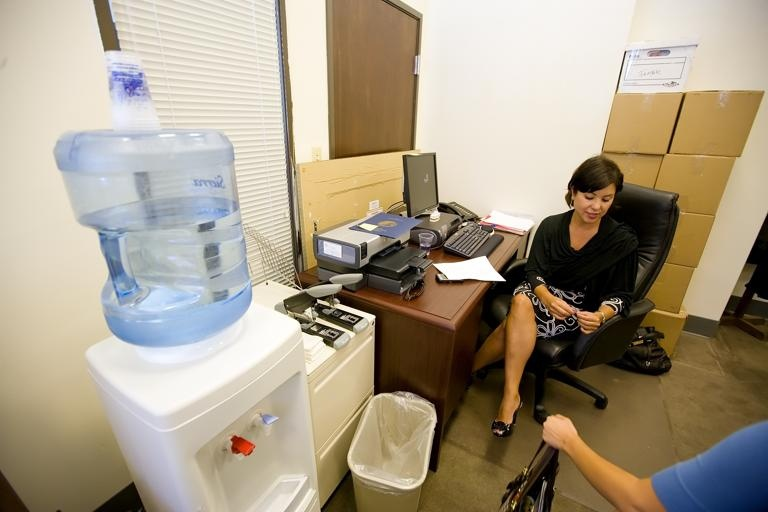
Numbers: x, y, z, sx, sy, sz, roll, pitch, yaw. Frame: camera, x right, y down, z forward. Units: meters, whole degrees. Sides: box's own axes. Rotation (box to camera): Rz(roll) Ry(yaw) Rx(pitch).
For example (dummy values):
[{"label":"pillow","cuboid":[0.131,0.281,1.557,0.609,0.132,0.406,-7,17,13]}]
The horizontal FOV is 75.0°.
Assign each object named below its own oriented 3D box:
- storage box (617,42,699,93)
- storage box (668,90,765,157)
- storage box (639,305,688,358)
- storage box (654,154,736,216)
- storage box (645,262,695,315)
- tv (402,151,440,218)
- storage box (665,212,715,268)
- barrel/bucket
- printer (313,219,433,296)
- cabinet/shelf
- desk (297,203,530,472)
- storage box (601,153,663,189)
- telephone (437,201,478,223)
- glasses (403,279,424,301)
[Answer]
[{"label":"storage box","cuboid":[1.792,-1.231,3.303,0.340,0.216,0.347,15,43,33]},{"label":"storage box","cuboid":[2.127,-0.855,3.241,0.488,0.471,0.125,11,19,17]},{"label":"storage box","cuboid":[1.948,0.530,3.529,0.310,0.322,0.232,14,24,37]},{"label":"storage box","cuboid":[2.082,-0.495,3.346,0.460,0.436,0.113,15,16,20]},{"label":"storage box","cuboid":[1.938,0.213,3.431,0.195,0.284,0.265,17,29,35]},{"label":"tv","cuboid":[0.245,-0.471,3.384,0.081,0.373,0.496,-4,10,25]},{"label":"storage box","cuboid":[2.032,-0.120,3.359,0.216,0.335,0.327,21,15,42]},{"label":"barrel/bucket","cuboid":[-0.860,-0.154,2.411,0.736,1.038,0.993,4,14,30]},{"label":"printer","cuboid":[-0.068,-0.012,2.789,0.464,0.255,0.507,18,32,26]},{"label":"cabinet/shelf","cuboid":[-0.259,0.643,2.636,0.226,0.600,0.560,13,27,25]},{"label":"desk","cuboid":[0.180,0.713,3.219,0.970,0.869,1.738,15,32,25]},{"label":"storage box","cuboid":[1.723,-0.590,3.447,0.306,0.198,0.308,-24,34,-39]},{"label":"telephone","cuboid":[0.561,-0.309,3.789,0.234,0.085,0.173,23,31,16]},{"label":"glasses","cuboid":[0.173,0.192,2.757,0.053,0.062,0.171,-3,6,30]}]
